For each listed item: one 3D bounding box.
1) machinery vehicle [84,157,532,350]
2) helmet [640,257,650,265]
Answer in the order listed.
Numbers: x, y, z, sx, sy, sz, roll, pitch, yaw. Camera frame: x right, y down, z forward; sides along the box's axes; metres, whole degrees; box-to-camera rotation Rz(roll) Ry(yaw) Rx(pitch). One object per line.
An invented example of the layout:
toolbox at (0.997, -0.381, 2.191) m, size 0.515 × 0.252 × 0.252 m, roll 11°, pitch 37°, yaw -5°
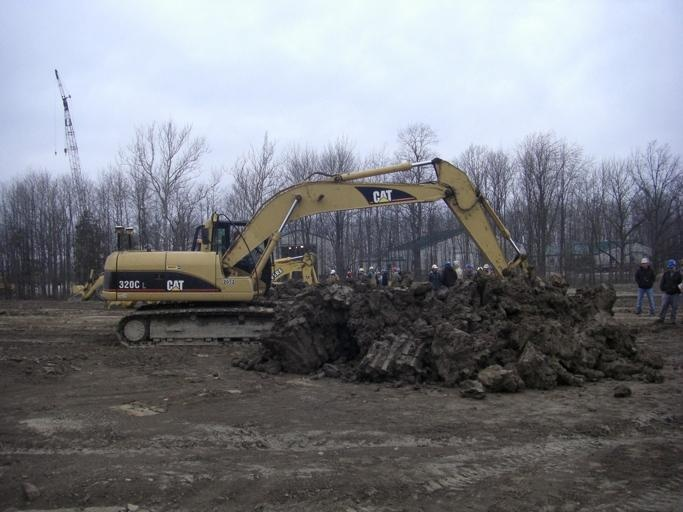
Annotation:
machinery vehicle at (-1.051, -0.074, 18.778) m, size 11.862 × 5.644 × 4.226 m, roll -1°, pitch -12°, yaw -1°
helmet at (12.203, 0.220, 25.820) m, size 0.381 × 0.221 × 0.561 m, roll -21°, pitch 2°, yaw 31°
